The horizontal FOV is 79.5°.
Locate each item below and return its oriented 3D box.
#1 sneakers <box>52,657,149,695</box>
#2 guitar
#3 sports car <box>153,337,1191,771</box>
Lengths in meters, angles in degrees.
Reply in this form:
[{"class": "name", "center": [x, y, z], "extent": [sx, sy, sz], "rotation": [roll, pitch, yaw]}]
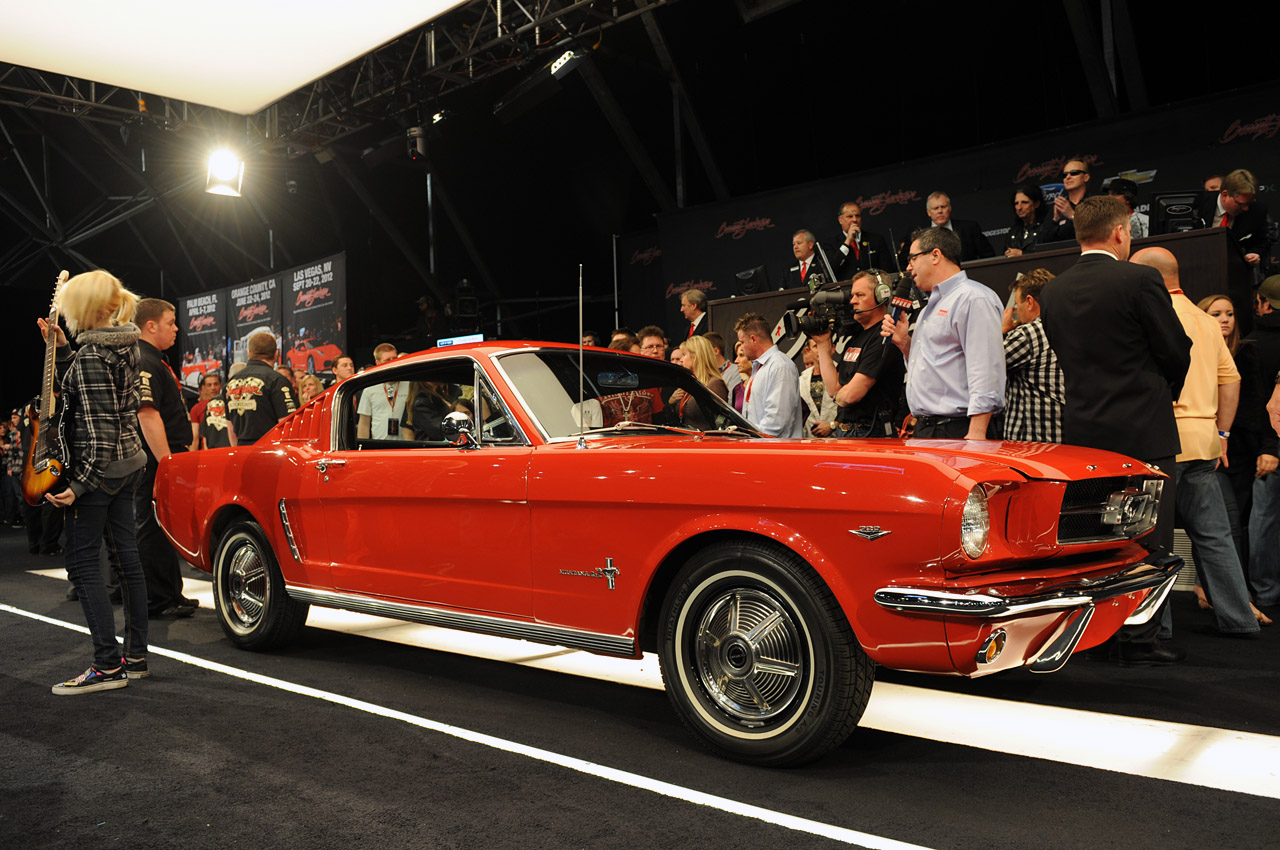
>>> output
[{"class": "sneakers", "center": [-3.402, 1.619, 4.973], "extent": [0.582, 0.210, 0.195], "rotation": [1, -3, -24]}, {"class": "guitar", "center": [-3.801, -0.265, 4.939], "extent": [0.249, 1.480, 0.585], "rotation": [-2, 2, -33]}, {"class": "sports car", "center": [-0.305, 0.618, 4.817], "extent": [5.039, 1.518, 2.449], "rotation": [1, 2, 37]}]
